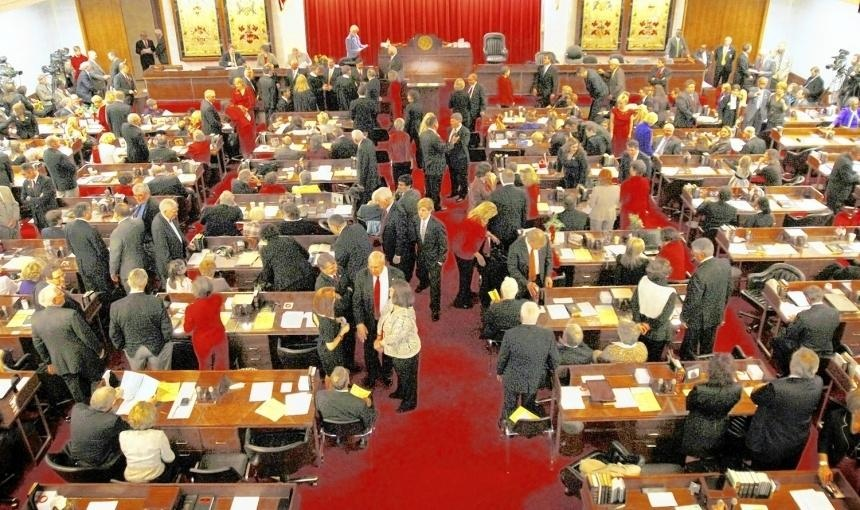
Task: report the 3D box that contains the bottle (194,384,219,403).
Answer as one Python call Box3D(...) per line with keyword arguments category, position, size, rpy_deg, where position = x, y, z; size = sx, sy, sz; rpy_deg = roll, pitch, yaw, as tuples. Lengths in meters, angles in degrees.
Box3D(category="bottle", position=(-3.565, 2.152, 9.431), size=(0.432, 0.258, 0.218), rpy_deg=(2, 26, -4))

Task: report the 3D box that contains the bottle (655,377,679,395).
Box3D(category="bottle", position=(3.802, 2.103, 9.511), size=(0.388, 0.213, 0.295), rpy_deg=(7, 22, 21))

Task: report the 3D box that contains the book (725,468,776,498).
Box3D(category="book", position=(4.550, 3.256, 8.547), size=(0.508, 0.153, 0.467), rpy_deg=(1, 25, 2))

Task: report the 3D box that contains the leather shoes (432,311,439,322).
Box3D(category="leather shoes", position=(0.115, 1.271, 12.247), size=(0.205, 0.298, 0.159), rpy_deg=(0, 61, 1))

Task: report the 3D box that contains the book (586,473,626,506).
Box3D(category="book", position=(2.525, 3.334, 8.414), size=(0.551, 0.362, 0.315), rpy_deg=(1, 21, 6))
